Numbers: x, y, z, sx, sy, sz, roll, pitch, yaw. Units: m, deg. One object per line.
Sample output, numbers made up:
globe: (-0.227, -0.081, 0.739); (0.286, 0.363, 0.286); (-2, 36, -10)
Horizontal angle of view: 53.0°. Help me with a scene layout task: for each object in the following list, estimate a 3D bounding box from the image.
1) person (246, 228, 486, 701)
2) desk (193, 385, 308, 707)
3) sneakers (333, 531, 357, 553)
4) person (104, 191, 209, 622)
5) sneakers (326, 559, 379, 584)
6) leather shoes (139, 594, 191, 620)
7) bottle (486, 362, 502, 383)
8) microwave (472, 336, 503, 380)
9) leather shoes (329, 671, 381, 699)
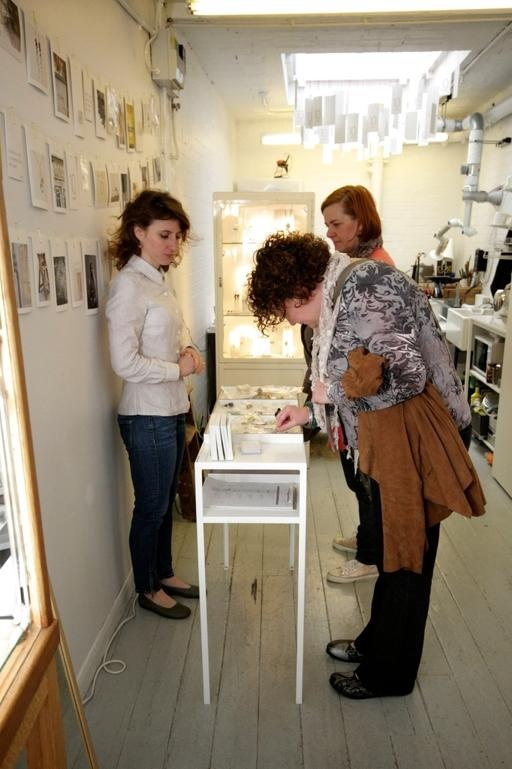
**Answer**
person: (0.327, 0.344, 1.596); (0.671, 1.603, 0.523); (5, 11, 30)
desk: (-0.019, 0.678, 2.053); (0.294, 0.606, 0.944); (-1, 16, 1)
sneakers: (0.471, 0.890, 2.892); (0.181, 0.090, 0.063); (5, 4, 17)
person: (-0.446, 0.124, 2.221); (0.447, 1.835, 0.353); (-8, 12, -40)
sneakers: (0.463, 0.924, 2.594); (0.297, 0.125, 0.117); (-1, 13, 2)
leather shoes: (-0.411, 1.007, 2.345); (0.235, 0.100, 0.091); (6, 5, 12)
bottle: (1.830, -0.079, 3.984); (0.096, 0.162, 0.044); (5, 11, 31)
microwave: (1.855, -0.213, 4.123); (0.196, 0.214, 0.321); (2, 16, 5)
leather shoes: (0.341, 1.064, 1.853); (0.193, 0.081, 0.074); (8, 19, 5)
